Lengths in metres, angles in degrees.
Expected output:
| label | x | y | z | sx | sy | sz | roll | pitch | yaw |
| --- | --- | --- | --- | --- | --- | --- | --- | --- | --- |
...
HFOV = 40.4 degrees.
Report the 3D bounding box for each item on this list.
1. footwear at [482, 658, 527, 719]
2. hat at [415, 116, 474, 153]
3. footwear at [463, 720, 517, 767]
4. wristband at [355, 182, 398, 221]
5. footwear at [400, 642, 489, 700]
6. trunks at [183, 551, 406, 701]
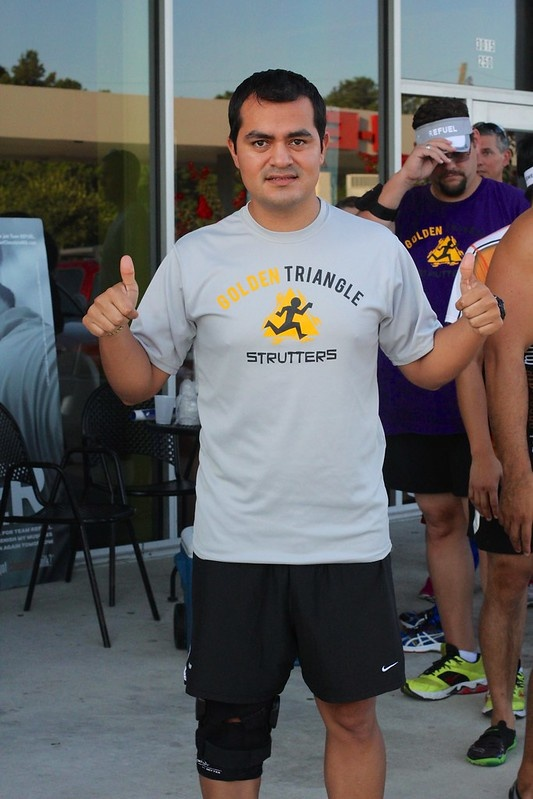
| label | x | y | z | sx | sy | sz | roll | pitch | yaw |
| --- | --- | --- | --- | --- | --- | --- | --- | --- | --- |
| footwear | 0.801 | 0.948 | 2.428 | 0.140 | 0.162 | 0.375 | -2 | -8 | 17 |
| hat | 0.611 | -0.899 | 2.481 | 0.134 | 0.112 | 0.157 | -6 | -3 | 30 |
| footwear | 0.624 | 0.967 | 2.012 | 0.078 | 0.080 | 0.191 | -1 | -5 | 35 |
| wristband | 0.387 | -0.707 | 2.582 | 0.163 | 0.117 | 0.081 | 33 | 28 | 23 |
| footwear | 0.645 | 0.974 | 2.602 | 0.322 | 0.191 | 0.102 | 3 | -17 | -19 |
| trunks | 0.043 | 0.397 | 1.300 | 0.397 | 0.252 | 0.228 | 0 | 0 | -1 |
